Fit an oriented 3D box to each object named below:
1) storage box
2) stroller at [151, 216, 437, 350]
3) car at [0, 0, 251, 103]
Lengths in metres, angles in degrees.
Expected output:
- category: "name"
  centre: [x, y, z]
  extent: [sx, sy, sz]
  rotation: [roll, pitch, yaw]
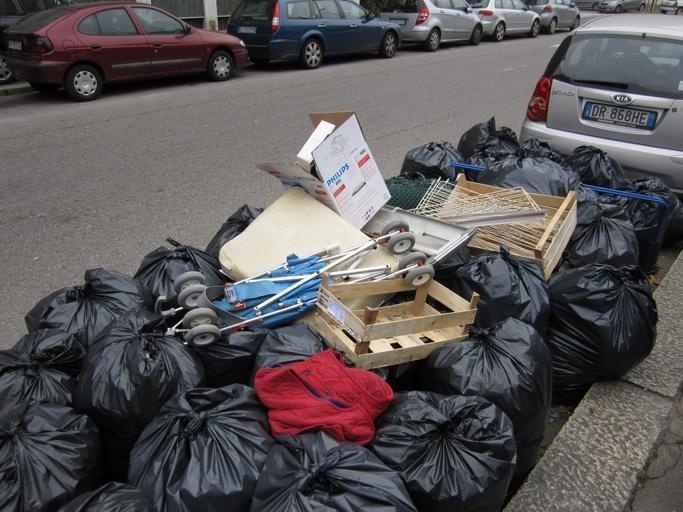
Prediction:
- category: "storage box"
  centre: [-0.076, -0.656, 3.714]
  extent: [0.694, 0.848, 0.560]
  rotation: [18, 36, 33]
- category: "stroller"
  centre: [-0.369, 0.186, 3.017]
  extent: [2.169, 0.344, 0.648]
  rotation: [-15, 44, -4]
- category: "car"
  centre: [-4.194, -4.389, 9.985]
  extent: [4.305, 1.428, 2.049]
  rotation: [-22, 43, -36]
